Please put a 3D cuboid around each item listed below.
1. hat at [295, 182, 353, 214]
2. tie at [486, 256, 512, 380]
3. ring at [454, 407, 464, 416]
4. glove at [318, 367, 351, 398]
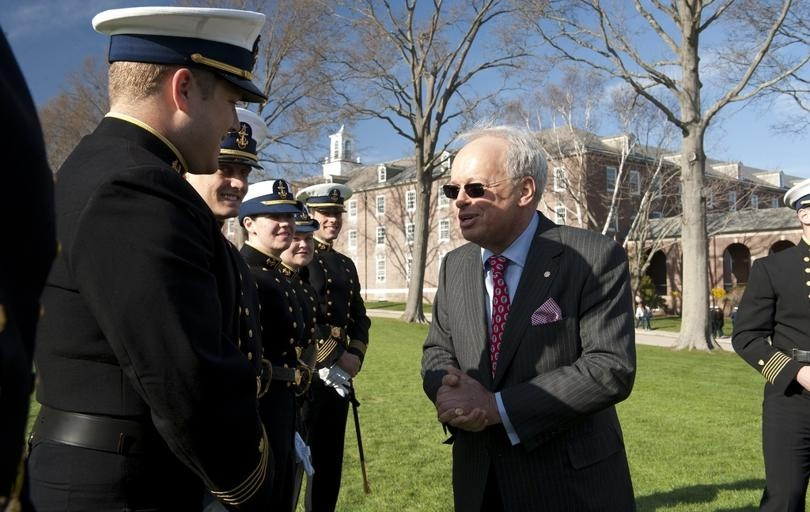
[{"bbox_3d":[-0.972,-0.752,8.114,0.462,0.209,0.522,1,-4,-27],"label":"hat"},{"bbox_3d":[0.569,0.362,4.238,0.113,0.761,0.105,-9,-24,28],"label":"tie"},{"bbox_3d":[0.302,0.877,3.924,0.042,0.023,0.055,3,-4,0],"label":"ring"},{"bbox_3d":[-0.657,1.167,6.409,0.298,0.283,0.364,1,-1,-2],"label":"glove"}]
